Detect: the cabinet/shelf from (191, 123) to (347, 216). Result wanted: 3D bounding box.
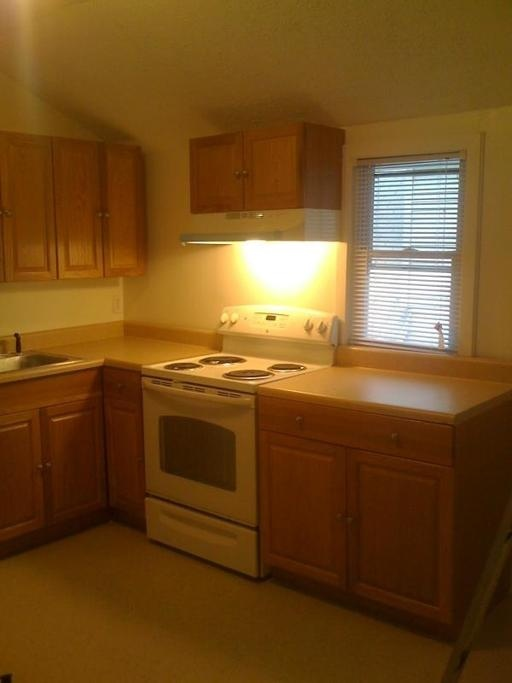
[{"bbox_3d":[0.013,-0.775,2.511,0.665,0.356,0.258,8,14,37],"label":"cabinet/shelf"}]

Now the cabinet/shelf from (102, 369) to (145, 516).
[{"bbox_3d":[-0.646,0.485,2.650,0.104,0.727,0.320,-1,2,-42],"label":"cabinet/shelf"}]

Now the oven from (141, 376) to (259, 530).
[{"bbox_3d":[-0.141,0.466,2.463,0.662,0.686,0.450,3,4,38],"label":"oven"}]

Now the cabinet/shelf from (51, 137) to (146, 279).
[{"bbox_3d":[-0.938,-0.743,3.114,0.265,0.747,0.608,14,18,39],"label":"cabinet/shelf"}]

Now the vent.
[{"bbox_3d":[0.025,-0.503,2.449,0.662,0.171,0.342,0,1,23],"label":"vent"}]
